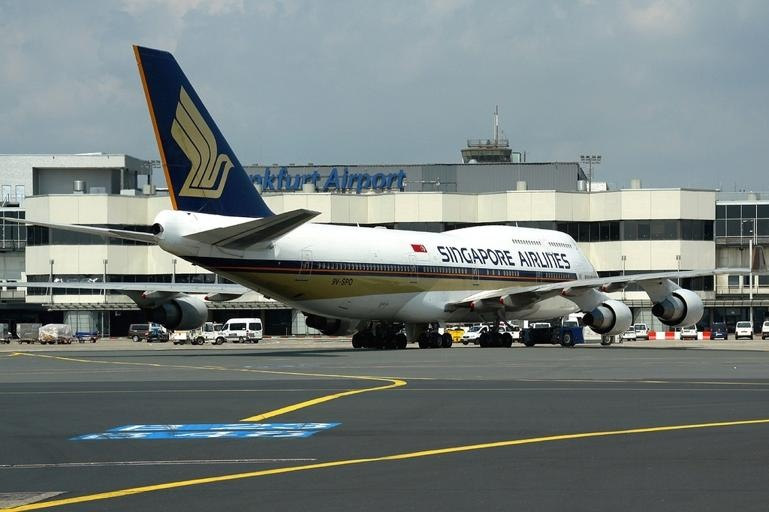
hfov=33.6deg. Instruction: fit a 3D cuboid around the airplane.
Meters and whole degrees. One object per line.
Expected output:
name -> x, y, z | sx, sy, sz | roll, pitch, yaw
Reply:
airplane -> -0.645, -1.609, 52.829 | 25.018, 10.927, 10.494 | 2, -5, -45
